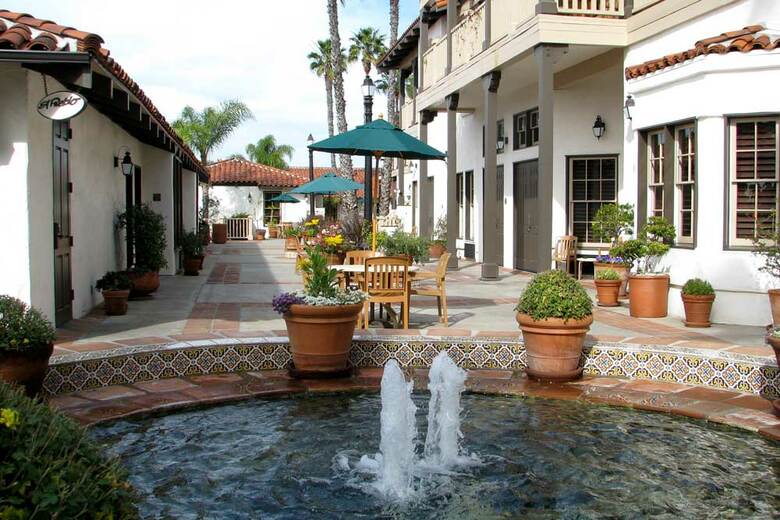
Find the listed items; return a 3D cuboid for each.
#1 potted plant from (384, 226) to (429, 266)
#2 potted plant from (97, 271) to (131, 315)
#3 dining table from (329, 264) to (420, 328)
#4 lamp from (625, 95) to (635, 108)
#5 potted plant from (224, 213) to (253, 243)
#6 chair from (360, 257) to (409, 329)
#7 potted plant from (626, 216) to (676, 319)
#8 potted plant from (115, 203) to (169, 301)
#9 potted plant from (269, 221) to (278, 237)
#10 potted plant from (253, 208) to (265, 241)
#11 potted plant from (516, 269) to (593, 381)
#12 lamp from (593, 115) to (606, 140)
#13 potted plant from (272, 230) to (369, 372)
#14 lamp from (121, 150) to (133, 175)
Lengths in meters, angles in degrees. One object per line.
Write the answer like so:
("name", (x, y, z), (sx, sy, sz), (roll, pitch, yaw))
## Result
("potted plant", (0.351, -0.407, 13.542), (0.922, 1.107, 1.134), (2, 3, 37))
("potted plant", (-4.988, 0.584, 9.172), (0.529, 0.662, 0.800), (-5, 10, -32))
("dining table", (-0.184, 0.478, 8.076), (1.054, 1.576, 1.144), (0, 5, -7))
("lamp", (5.061, -3.332, 10.656), (0.155, 0.275, 0.402), (4, 9, 21))
("potted plant", (-11.140, -2.419, 37.493), (1.758, 1.322, 1.762), (0, 3, 0))
("chair", (-0.056, 0.439, 7.750), (0.911, 1.370, 0.999), (0, 5, -2))
("potted plant", (4.789, 0.081, 9.212), (0.662, 1.730, 1.125), (5, 10, 29))
("potted plant", (-5.397, -0.196, 11.105), (0.916, 1.975, 1.806), (-4, 10, -28))
("potted plant", (-9.045, -2.292, 38.784), (0.935, 0.950, 0.941), (-1, 0, -2))
("potted plant", (-9.882, -2.709, 38.165), (0.955, 2.019, 3.407), (-2, 9, -14))
("potted plant", (1.863, 0.815, 6.557), (1.207, 1.537, 1.208), (0, -4, -3))
("lamp", (5.724, -3.608, 13.811), (0.258, 0.646, 0.373), (8, 12, 42))
("potted plant", (-0.892, 0.642, 6.737), (1.464, 1.925, 1.393), (0, -4, -9))
("lamp", (-6.106, -2.227, 11.668), (0.213, 0.519, 0.694), (-4, 10, -27))
